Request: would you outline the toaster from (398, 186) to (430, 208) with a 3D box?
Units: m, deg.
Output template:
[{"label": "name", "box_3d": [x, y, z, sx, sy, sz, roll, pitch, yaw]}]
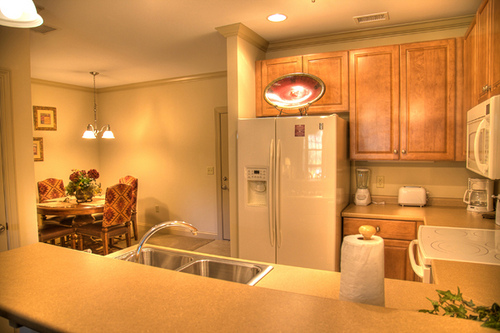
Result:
[{"label": "toaster", "box_3d": [1.795, 0.328, 3.960, 0.387, 0.320, 0.211, -1, -6, 30]}]

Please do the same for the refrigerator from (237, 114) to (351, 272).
[{"label": "refrigerator", "box_3d": [0.528, 0.271, 3.767, 0.786, 1.697, 1.067, -4, 10, -22]}]

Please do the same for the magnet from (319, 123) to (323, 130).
[{"label": "magnet", "box_3d": [0.701, -0.398, 3.520, 0.037, 0.063, 0.012, 4, 13, 13]}]

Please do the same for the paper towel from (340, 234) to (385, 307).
[{"label": "paper towel", "box_3d": [0.587, 0.533, 1.951, 0.195, 0.384, 0.219, 7, 9, 11]}]

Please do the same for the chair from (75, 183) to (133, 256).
[{"label": "chair", "box_3d": [-2.144, 0.817, 5.343, 0.782, 1.092, 0.733, -1, 1, 40]}]

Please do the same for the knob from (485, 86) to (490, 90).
[{"label": "knob", "box_3d": [1.930, -0.644, 2.908, 0.024, 0.042, 0.024, 4, 7, 28]}]

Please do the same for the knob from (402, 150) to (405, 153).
[{"label": "knob", "box_3d": [1.621, -0.160, 3.774, 0.035, 0.032, 0.035, 3, 2, 37]}]

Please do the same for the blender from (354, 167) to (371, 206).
[{"label": "blender", "box_3d": [1.324, 0.229, 4.183, 0.195, 0.409, 0.276, 7, 13, 23]}]

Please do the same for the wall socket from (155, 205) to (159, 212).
[{"label": "wall socket", "box_3d": [-1.700, 0.769, 6.585, 0.080, 0.126, 0.017, 7, 13, 23]}]

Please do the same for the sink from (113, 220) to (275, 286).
[{"label": "sink", "box_3d": [-0.528, 0.745, 2.871, 0.892, 0.563, 0.376, -8, -19, 28]}]

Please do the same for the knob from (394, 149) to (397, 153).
[{"label": "knob", "box_3d": [1.543, -0.163, 3.795, 0.036, 0.039, 0.019, 5, -8, 14]}]

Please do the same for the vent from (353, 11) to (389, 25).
[{"label": "vent", "box_3d": [1.292, -1.592, 3.818, 0.348, 0.078, 0.244, 6, 12, 21]}]

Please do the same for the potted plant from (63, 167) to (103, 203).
[{"label": "potted plant", "box_3d": [-2.571, 0.291, 5.651, 0.632, 0.574, 0.616, 3, 3, -30]}]

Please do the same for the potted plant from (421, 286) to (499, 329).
[{"label": "potted plant", "box_3d": [1.092, 0.730, 1.913, 0.366, 0.156, 0.178, -4, -2, 26]}]
